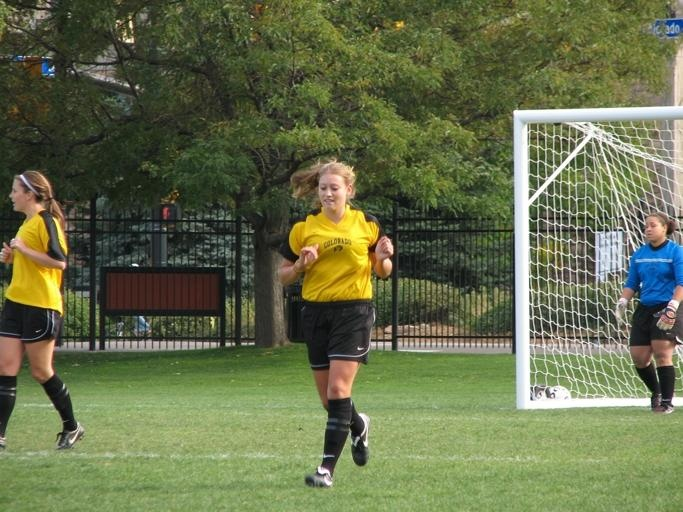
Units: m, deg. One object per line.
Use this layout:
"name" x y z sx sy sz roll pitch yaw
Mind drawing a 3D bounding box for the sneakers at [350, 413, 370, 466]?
"sneakers" 0.201 2.133 13.594 0.206 0.571 0.248 -1 -2 34

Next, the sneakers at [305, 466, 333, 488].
"sneakers" -0.234 2.469 13.034 0.284 0.173 0.172 12 -16 -24

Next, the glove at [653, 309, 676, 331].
"glove" 4.352 0.894 15.782 0.210 0.264 0.283 13 -3 0

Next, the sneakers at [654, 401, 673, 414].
"sneakers" 4.417 2.113 16.144 0.113 0.116 0.303 -7 -12 40

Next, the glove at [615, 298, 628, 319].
"glove" 3.959 0.759 16.518 0.127 0.334 0.184 0 18 -24

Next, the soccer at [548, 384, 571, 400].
"soccer" 3.275 2.081 17.623 0.257 0.219 0.192 12 3 -14

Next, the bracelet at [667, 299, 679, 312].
"bracelet" 4.440 0.683 15.780 0.155 0.154 0.141 0 -8 7

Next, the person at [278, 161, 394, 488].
"person" -0.050 0.743 13.387 1.196 3.715 0.556 -1 -5 -2
